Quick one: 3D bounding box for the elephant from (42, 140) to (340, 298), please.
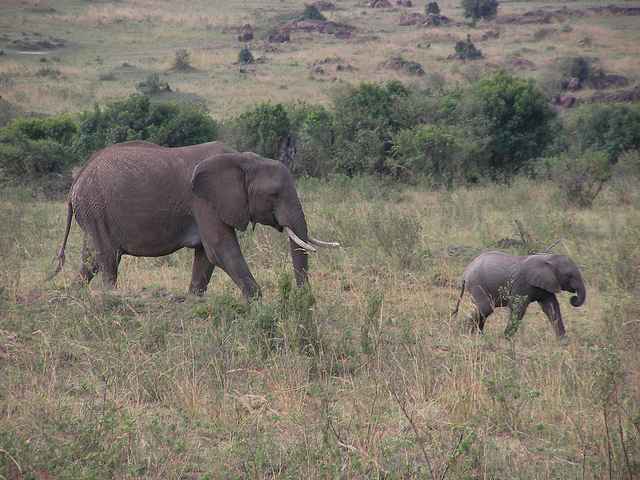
[{"bbox_3d":[-4.150,-0.357,32.001,9.371,6.577,4.270,2,15,-1],"label":"elephant"}]
